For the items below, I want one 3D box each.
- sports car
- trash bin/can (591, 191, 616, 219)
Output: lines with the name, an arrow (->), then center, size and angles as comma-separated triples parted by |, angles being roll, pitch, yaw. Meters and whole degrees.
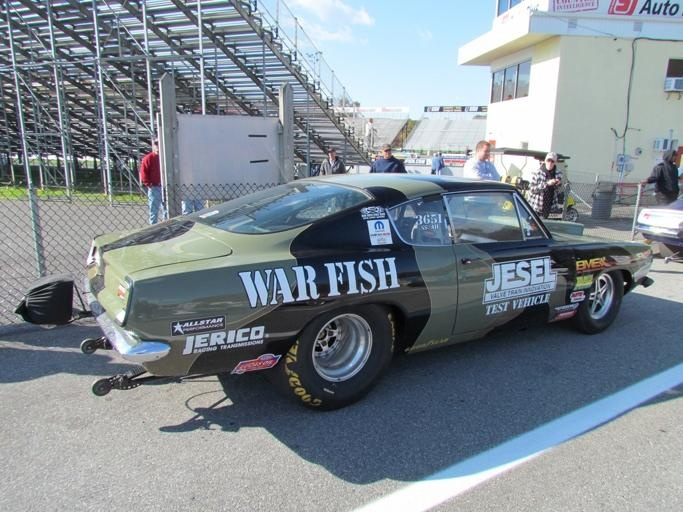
sports car -> 0.484, 0.093, 4.454 | 4.619, 1.038, 1.906 | -6, 14, -24
trash bin/can -> 7.172, -1.402, 13.445 | 0.710, 0.761, 0.295 | 7, 5, 5
